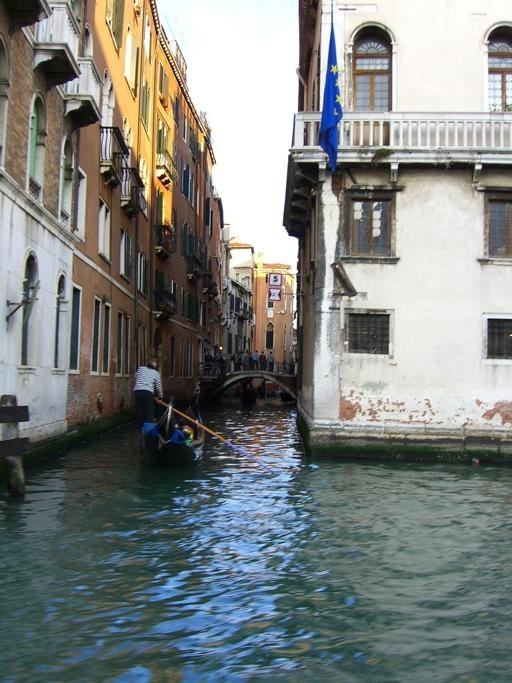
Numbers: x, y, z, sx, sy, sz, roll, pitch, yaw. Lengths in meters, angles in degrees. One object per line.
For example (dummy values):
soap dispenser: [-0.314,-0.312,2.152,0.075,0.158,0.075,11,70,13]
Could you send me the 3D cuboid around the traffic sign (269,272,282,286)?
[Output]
traffic sign: [1.131,-3.796,44.672,0.695,0.761,1.793,2,-3,1]
